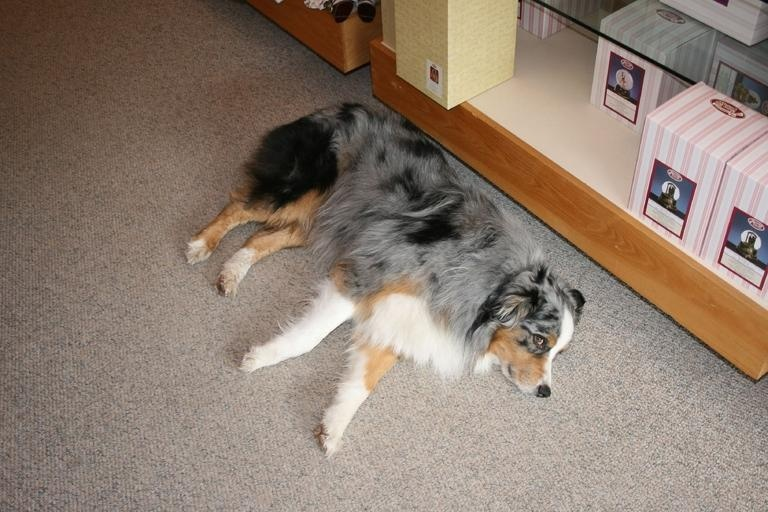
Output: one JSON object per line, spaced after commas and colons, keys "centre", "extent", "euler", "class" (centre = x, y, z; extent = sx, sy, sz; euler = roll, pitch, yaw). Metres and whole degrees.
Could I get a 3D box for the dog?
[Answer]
{"centre": [-0.036, 0.059, 2.815], "extent": [1.848, 0.926, 1.372], "euler": [41, 48, 14], "class": "dog"}
